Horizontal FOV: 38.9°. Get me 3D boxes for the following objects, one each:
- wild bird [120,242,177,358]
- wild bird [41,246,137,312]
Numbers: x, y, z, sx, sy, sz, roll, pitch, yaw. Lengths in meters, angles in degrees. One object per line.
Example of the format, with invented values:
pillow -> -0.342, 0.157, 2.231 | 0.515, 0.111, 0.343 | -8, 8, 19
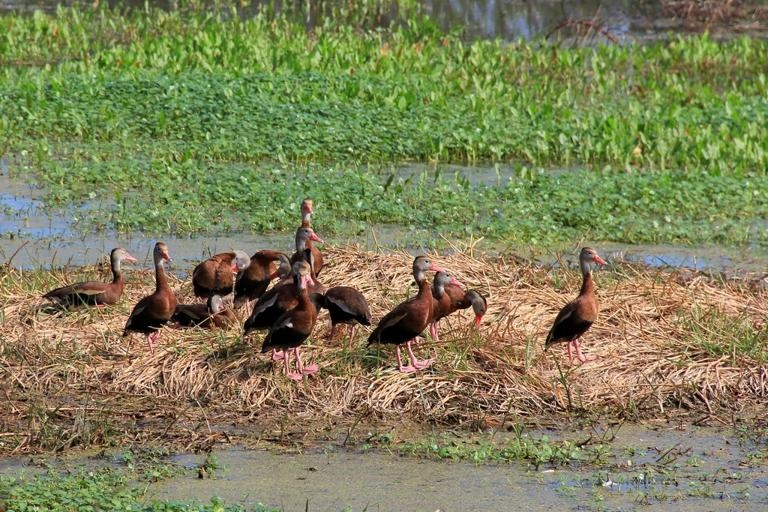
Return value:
wild bird -> -2.490, 0.439, 11.517 | 0.578, 1.064, 0.568 | -2, 13, -11
wild bird -> -3.279, 0.247, 12.157 | 1.020, 0.679, 0.455 | 2, 7, 14
